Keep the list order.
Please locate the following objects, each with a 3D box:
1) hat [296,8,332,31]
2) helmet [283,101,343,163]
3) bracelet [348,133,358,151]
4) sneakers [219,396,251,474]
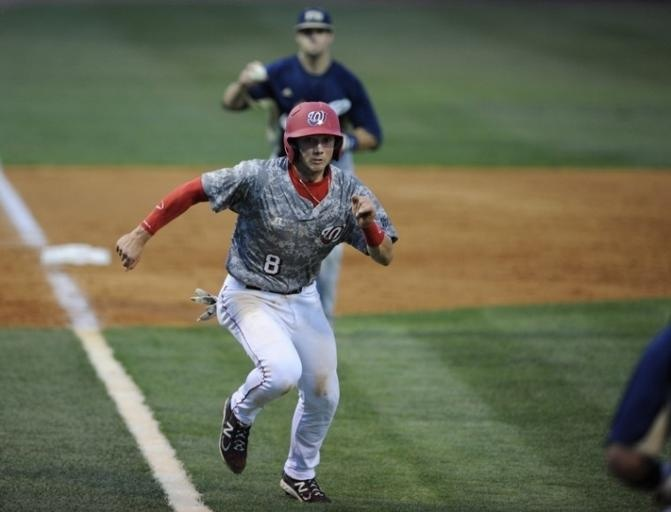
[{"bbox_3d":[-0.216,-2.342,11.107,0.350,0.248,0.478,0,23,-3],"label":"hat"},{"bbox_3d":[-0.187,-1.014,8.847,0.427,0.359,0.525,1,7,-10],"label":"helmet"},{"bbox_3d":[0.157,-1.121,10.948,0.065,0.139,0.114,-20,0,28],"label":"bracelet"},{"bbox_3d":[-0.832,1.411,8.869,0.233,0.572,0.278,0,-3,-27],"label":"sneakers"}]
